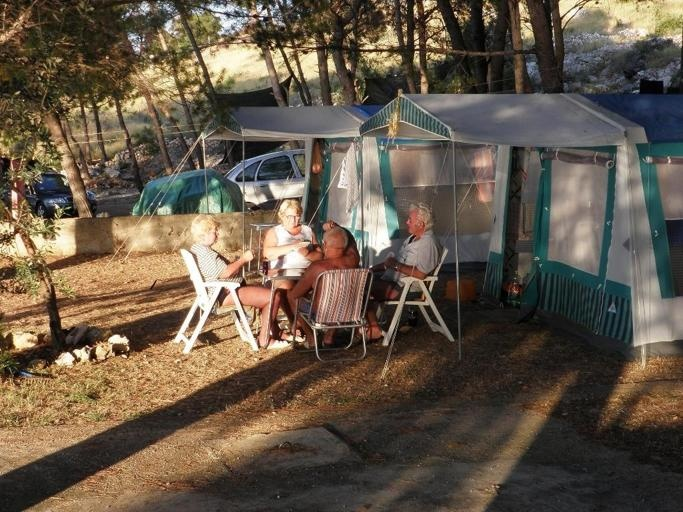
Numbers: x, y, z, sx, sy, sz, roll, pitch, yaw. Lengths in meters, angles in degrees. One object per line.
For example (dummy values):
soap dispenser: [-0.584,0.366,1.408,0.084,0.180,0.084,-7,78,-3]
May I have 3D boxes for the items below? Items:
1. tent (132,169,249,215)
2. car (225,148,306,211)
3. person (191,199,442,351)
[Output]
tent: [-3.330,-1.446,13.395,2.506,0.820,1.611,-4,13,-6]
car: [-1.613,-1.872,14.309,2.305,1.112,1.311,-11,6,-9]
person: [-0.612,0.190,6.400,1.679,1.513,0.931,1,11,17]
